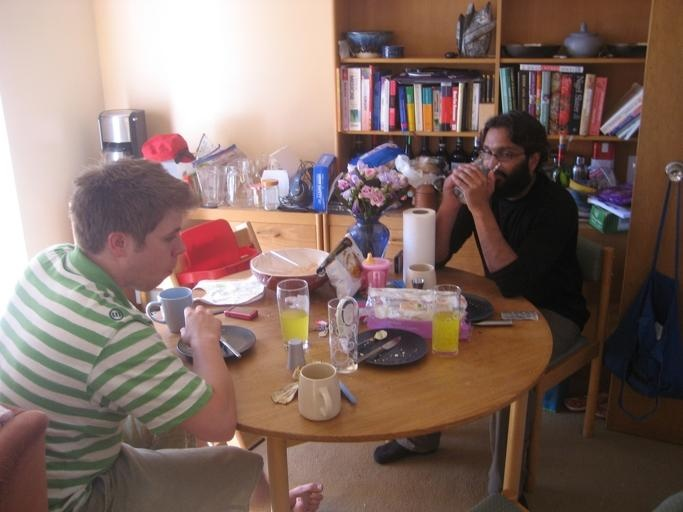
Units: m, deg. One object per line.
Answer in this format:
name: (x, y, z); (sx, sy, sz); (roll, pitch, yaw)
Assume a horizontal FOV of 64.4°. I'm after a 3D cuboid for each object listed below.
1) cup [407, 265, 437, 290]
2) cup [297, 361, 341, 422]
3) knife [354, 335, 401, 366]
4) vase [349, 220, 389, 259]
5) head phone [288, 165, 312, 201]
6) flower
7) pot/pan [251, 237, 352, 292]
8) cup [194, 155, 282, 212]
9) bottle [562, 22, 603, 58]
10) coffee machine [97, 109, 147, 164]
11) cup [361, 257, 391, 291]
cup: (0.297, 0.074, 2.019); (0.068, 0.096, 0.108); (-5, 9, 4)
cup: (-0.062, 0.369, 1.520); (0.094, 0.111, 0.161); (-2, 20, -3)
knife: (0.111, 0.303, 1.717); (0.025, 0.024, 0.229); (26, 32, 29)
vase: (0.105, -0.081, 2.283); (0.145, 0.170, 0.142); (-8, 15, -12)
head phone: (-0.262, -0.471, 3.592); (0.124, 0.246, 0.085); (7, -20, 3)
flower: (0.119, -0.273, 2.167); (0.240, 0.176, 0.237); (-16, 30, -20)
pot/pan: (-0.190, 0.042, 2.160); (0.286, 0.149, 0.238); (-1, 21, -1)
cup: (-0.664, -0.489, 3.600); (0.548, 0.249, 0.334); (3, 11, 9)
bottle: (1.314, -1.198, 3.081); (0.202, 0.185, 0.208); (-14, 32, -10)
coffee machine: (-1.521, -0.860, 3.813); (0.328, 0.326, 0.290); (-12, 19, -19)
cup: (0.136, 0.067, 2.074); (0.115, 0.113, 0.097); (3, 18, 21)
